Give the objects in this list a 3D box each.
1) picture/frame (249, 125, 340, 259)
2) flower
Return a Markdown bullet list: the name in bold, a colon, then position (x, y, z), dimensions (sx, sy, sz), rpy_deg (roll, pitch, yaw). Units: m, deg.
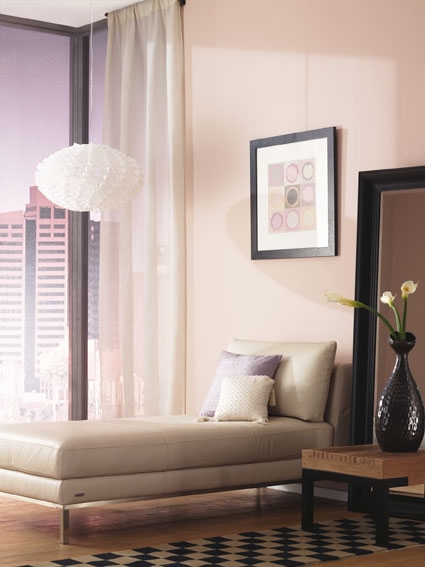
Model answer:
- **picture/frame**: position (0.509, -0.536, 3.438), dimensions (0.045, 0.936, 0.830), rpy_deg (3, -4, -38)
- **flower**: position (0.762, 0.094, 2.526), dimensions (0.321, 0.208, 0.310), rpy_deg (-7, 8, 37)
